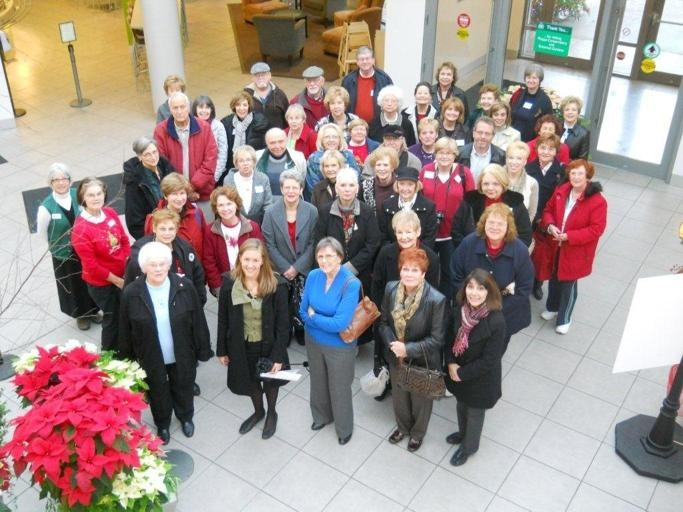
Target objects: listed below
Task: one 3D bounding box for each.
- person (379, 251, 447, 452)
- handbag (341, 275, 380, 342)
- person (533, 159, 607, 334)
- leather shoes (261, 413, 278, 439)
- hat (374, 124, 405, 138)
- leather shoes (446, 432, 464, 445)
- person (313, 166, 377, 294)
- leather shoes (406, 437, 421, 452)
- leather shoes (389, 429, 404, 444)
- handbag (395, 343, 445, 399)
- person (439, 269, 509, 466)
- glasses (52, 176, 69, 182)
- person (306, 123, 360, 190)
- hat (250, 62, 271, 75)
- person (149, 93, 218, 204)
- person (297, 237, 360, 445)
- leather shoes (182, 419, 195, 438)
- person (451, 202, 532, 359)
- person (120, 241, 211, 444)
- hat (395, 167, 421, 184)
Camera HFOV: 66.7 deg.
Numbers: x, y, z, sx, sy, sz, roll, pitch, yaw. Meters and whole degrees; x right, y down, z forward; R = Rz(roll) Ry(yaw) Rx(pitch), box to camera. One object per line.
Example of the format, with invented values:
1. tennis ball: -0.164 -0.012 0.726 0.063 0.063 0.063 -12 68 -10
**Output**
1. person: 0.563 0.811 4.210 0.574 1.779 0.455 6 30 14
2. handbag: 0.168 0.533 4.264 0.276 0.133 0.369 43 92 23
3. person: 2.407 -0.028 5.639 0.472 1.630 0.615 -20 34 -30
4. leather shoes: -0.646 1.524 4.634 0.085 0.105 0.265 2 57 4
5. hat: 0.574 -1.413 5.738 0.243 0.132 0.355 1 3 16
6. leather shoes: 0.981 1.595 4.520 0.157 0.158 0.084 0 62 -2
7. person: 0.052 0.063 4.982 0.602 1.687 0.550 2 15 11
8. leather shoes: 0.615 1.638 4.473 0.069 0.068 0.155 11 43 14
9. leather shoes: 0.468 1.594 4.545 0.084 0.064 0.141 19 46 19
10. handbag: 0.612 0.891 4.070 0.394 0.412 0.120 18 46 28
11. person: 1.023 0.942 4.089 0.459 1.716 0.393 9 30 19
12. glasses: -2.814 -0.771 5.171 0.152 0.050 0.046 -17 32 -25
13. person: -0.123 -0.931 5.925 0.556 1.210 0.333 -5 39 -7
14. hat: -1.089 -2.494 6.890 0.219 0.136 0.265 -1 29 2
15. person: -1.856 -0.930 6.281 0.679 1.944 0.652 -6 23 -13
16. person: -0.125 0.725 4.340 0.497 1.804 0.441 9 30 19
17. leather shoes: -1.380 1.544 4.653 0.067 0.085 0.203 -10 65 -8
18. person: 1.365 0.374 4.812 0.785 1.736 0.605 10 34 25
19. person: -1.461 0.741 4.307 0.753 1.675 0.513 -5 21 -17
20. hat: 0.602 -0.760 4.840 0.215 0.132 0.172 5 30 11
